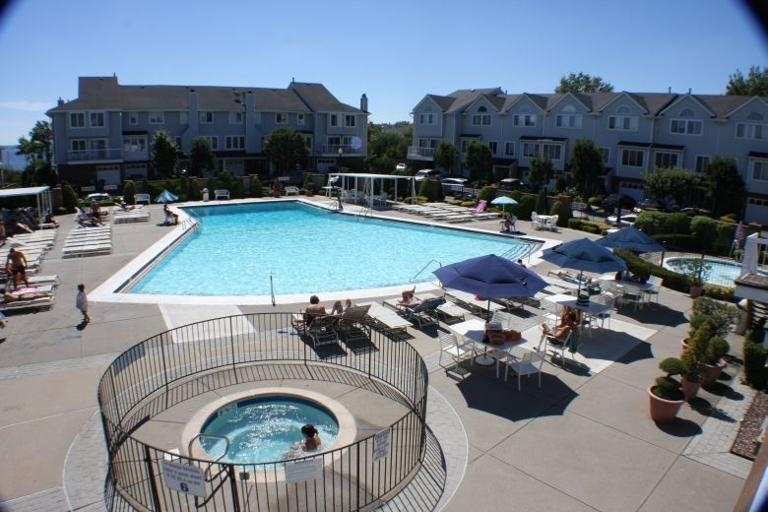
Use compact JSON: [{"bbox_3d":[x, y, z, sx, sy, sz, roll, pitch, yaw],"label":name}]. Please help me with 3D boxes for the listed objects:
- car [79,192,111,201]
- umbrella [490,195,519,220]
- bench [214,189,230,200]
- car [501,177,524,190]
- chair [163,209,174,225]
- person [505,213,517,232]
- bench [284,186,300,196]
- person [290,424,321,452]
[{"bbox_3d":[-31.845,-6.526,52.411,3.661,1.043,2.105,-3,9,-25],"label":"car"},{"bbox_3d":[10.749,-4.096,41.300,2.569,2.263,2.555,1,18,8],"label":"umbrella"},{"bbox_3d":[-17.849,-6.828,52.605,1.620,1.418,1.264,-4,31,-21],"label":"bench"},{"bbox_3d":[16.464,-9.143,60.578,2.507,1.593,2.649,13,18,39],"label":"car"},{"bbox_3d":[-17.891,-3.335,39.685,0.944,1.432,2.076,-3,11,-24],"label":"chair"},{"bbox_3d":[10.277,-2.628,38.312,1.033,1.198,2.146,5,11,16],"label":"person"},{"bbox_3d":[-10.831,-7.752,56.847,1.152,0.949,1.842,11,14,42],"label":"bench"},{"bbox_3d":[-1.931,4.743,12.403,0.737,0.710,0.365,2,-11,-11],"label":"person"}]
